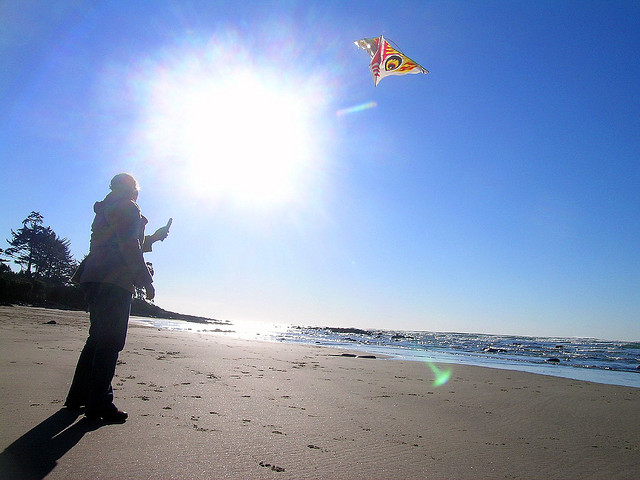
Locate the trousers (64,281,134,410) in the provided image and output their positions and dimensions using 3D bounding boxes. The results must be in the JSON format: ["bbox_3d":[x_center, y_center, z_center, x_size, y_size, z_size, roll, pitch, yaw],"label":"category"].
[{"bbox_3d":[-2.249,1.074,4.064,0.600,1.274,0.346,1,-9,15],"label":"trousers"}]

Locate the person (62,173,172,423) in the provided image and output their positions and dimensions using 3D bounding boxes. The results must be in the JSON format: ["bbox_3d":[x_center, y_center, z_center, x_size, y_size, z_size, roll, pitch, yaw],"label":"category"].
[{"bbox_3d":[-2.105,0.511,4.124,0.672,2.558,0.687,9,-11,-35],"label":"person"}]

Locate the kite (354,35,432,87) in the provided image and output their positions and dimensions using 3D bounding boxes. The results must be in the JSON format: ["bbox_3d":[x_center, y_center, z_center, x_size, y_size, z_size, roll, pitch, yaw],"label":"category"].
[{"bbox_3d":[1.567,-3.904,8.741,1.117,0.666,1.741,-34,-5,38],"label":"kite"}]
